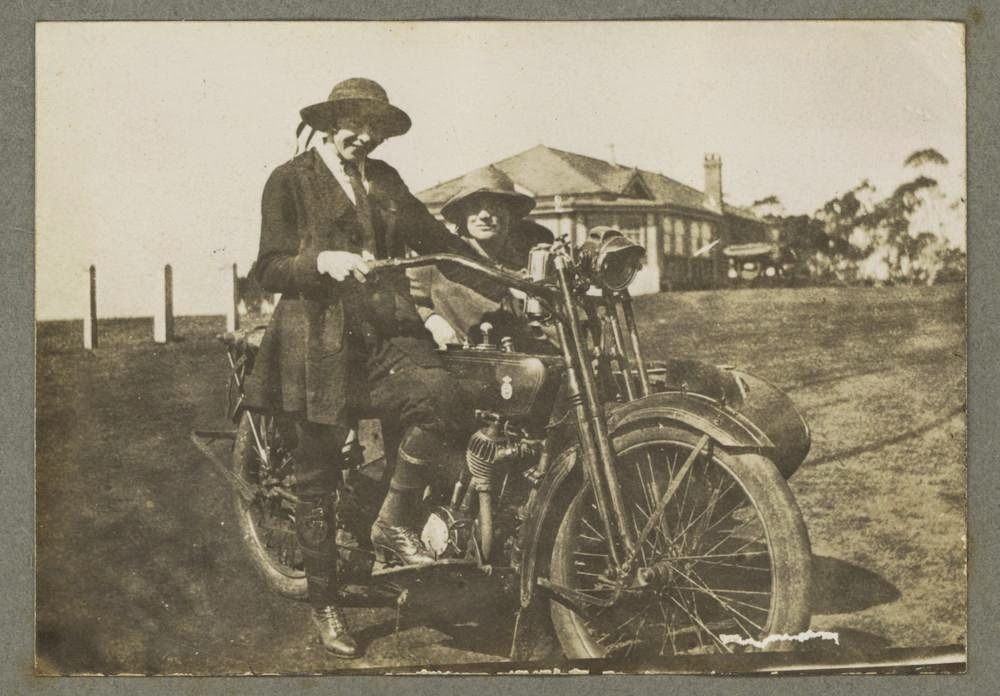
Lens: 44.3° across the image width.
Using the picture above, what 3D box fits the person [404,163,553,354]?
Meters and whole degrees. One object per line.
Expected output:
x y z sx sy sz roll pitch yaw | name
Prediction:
-0.145 -0.548 7.705 0.853 1.076 0.440 -5 3 12 | person

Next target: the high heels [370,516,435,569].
-0.608 1.221 7.731 0.455 0.200 0.165 7 0 23 | high heels

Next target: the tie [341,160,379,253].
-0.862 -0.861 7.798 0.138 0.758 0.117 -12 -1 4 | tie
